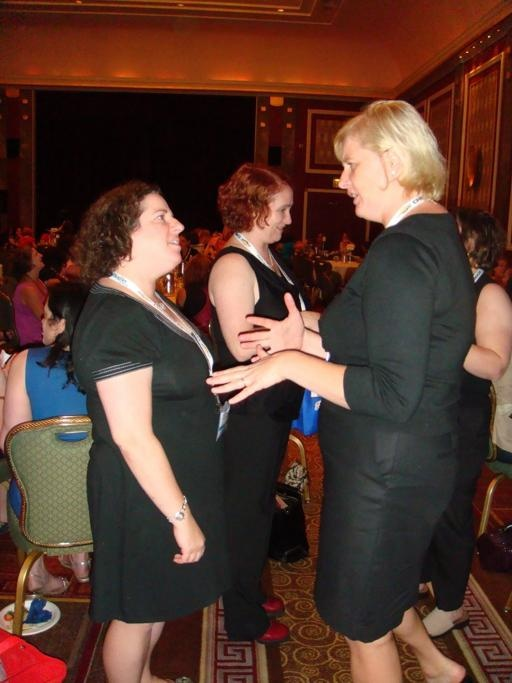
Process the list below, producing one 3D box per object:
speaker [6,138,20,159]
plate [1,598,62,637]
[{"bbox_3d":[-5.877,-4.735,13.283,0.480,0.407,0.451,-4,3,-22],"label":"speaker"},{"bbox_3d":[-0.846,1.051,2.047,0.180,0.028,0.166,0,19,-44],"label":"plate"}]
